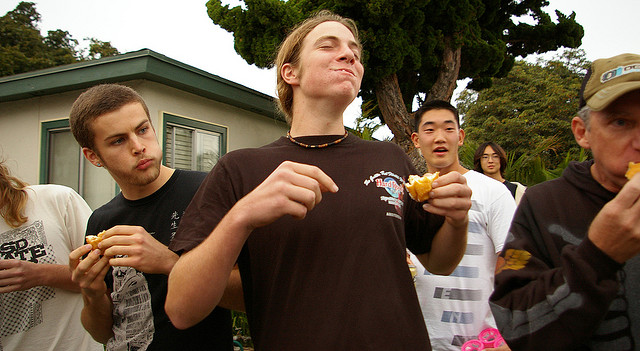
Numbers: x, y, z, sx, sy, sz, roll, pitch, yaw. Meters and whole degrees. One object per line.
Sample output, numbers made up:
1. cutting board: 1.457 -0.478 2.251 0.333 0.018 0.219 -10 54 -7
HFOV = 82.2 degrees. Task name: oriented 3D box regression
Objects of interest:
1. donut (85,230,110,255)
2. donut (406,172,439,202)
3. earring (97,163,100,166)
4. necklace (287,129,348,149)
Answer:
1. donut: -2.149 0.627 3.508 0.252 0.210 0.066 0 -26 5
2. donut: 0.884 0.096 3.112 0.264 0.169 0.206 -23 14 -17
3. earring: -2.397 -0.070 3.985 0.023 0.020 0.035 -2 -26 -16
4. necklace: -0.024 -0.268 3.258 0.544 0.193 0.146 -2 -9 0
